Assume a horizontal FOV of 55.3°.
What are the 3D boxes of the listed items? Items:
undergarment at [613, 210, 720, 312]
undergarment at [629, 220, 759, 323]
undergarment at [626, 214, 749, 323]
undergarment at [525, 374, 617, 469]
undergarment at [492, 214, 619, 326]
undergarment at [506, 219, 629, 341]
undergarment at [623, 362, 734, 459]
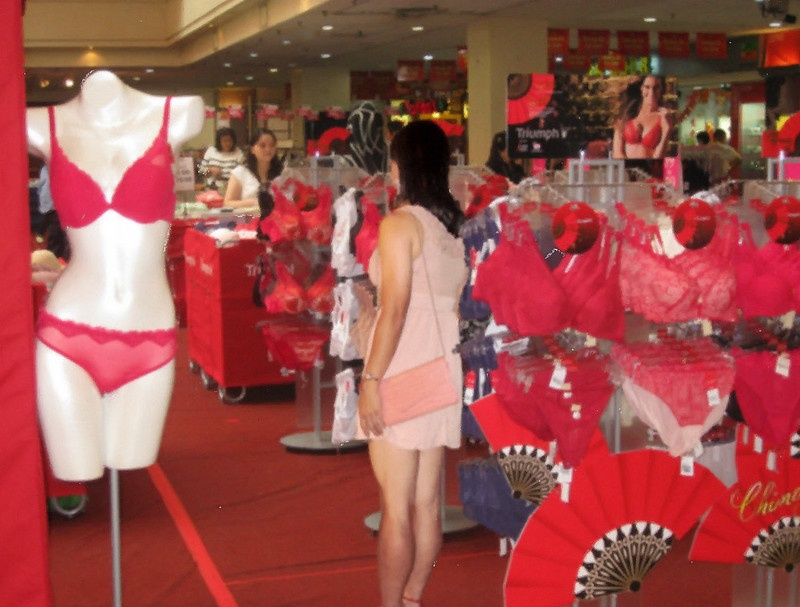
[{"bbox_3d":[0.987,-0.181,2.711,0.363,0.174,0.478,11,35,13],"label":"undergarment"},{"bbox_3d":[0.953,-0.077,2.496,0.331,0.368,0.180,3,-8,-11],"label":"undergarment"},{"bbox_3d":[0.949,-0.108,2.629,0.357,0.349,0.376,-1,5,-6],"label":"undergarment"},{"bbox_3d":[0.574,0.364,2.530,0.284,0.299,0.089,14,8,-13],"label":"undergarment"},{"bbox_3d":[0.537,-0.032,2.594,0.480,0.474,0.290,-2,5,-16],"label":"undergarment"},{"bbox_3d":[0.528,-0.170,2.746,0.484,0.206,0.624,-8,25,27],"label":"undergarment"},{"bbox_3d":[0.994,0.438,2.772,0.392,0.328,0.420,-2,-8,25],"label":"undergarment"}]
